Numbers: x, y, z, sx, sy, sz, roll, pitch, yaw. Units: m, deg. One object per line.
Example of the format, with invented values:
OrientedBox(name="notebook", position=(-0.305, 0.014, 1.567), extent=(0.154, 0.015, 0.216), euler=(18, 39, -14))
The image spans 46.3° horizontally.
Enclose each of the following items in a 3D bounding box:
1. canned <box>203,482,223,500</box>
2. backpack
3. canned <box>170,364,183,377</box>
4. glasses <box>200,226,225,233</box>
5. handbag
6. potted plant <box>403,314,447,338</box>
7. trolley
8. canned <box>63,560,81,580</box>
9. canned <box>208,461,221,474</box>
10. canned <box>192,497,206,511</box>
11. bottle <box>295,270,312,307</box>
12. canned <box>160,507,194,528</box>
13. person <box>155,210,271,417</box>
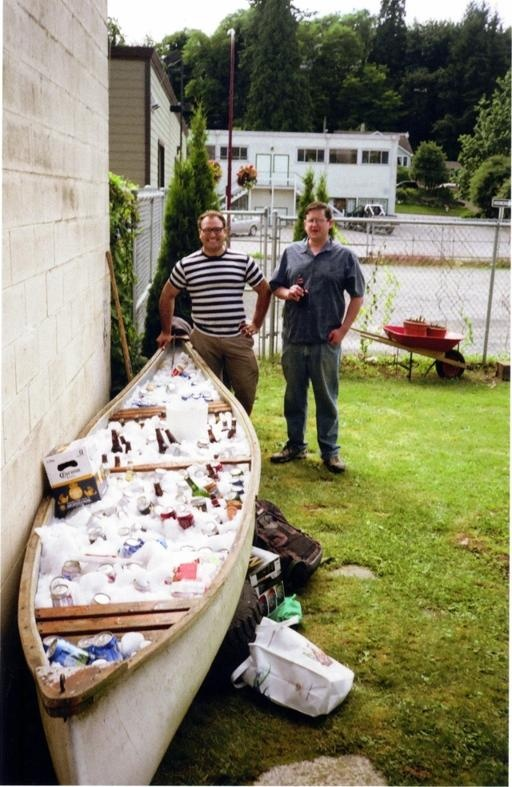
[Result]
OrientedBox(name="canned", position=(-0.180, 0.408, 2.503), extent=(0.058, 0.069, 0.059), euler=(-33, -1, 0))
OrientedBox(name="backpack", position=(0.140, 0.820, 3.121), extent=(0.358, 0.329, 0.319), euler=(8, 14, 31))
OrientedBox(name="canned", position=(-0.606, -0.174, 4.557), extent=(0.054, 0.045, 0.087), euler=(4, 22, 3))
OrientedBox(name="glasses", position=(-0.317, -1.198, 4.411), extent=(0.161, 0.046, 0.094), euler=(-1, 13, -10))
OrientedBox(name="handbag", position=(0.121, 1.052, 2.361), extent=(0.437, 0.207, 0.484), euler=(13, 7, 28))
OrientedBox(name="potted plant", position=(2.076, -0.822, 7.587), extent=(0.287, 0.175, 0.424), euler=(1, 8, -10))
OrientedBox(name="trolley", position=(2.044, -0.523, 7.867), extent=(1.463, 0.824, 0.789), euler=(-2, 14, 2))
OrientedBox(name="canned", position=(-0.602, 0.575, 1.949), extent=(0.045, 0.056, 0.051), euler=(6, 5, 6))
OrientedBox(name="canned", position=(-0.188, 0.338, 2.746), extent=(0.033, 0.044, 0.049), euler=(-2, -11, -6))
OrientedBox(name="canned", position=(-0.233, 0.439, 2.434), extent=(0.044, 0.055, 0.047), euler=(-13, 4, -27))
OrientedBox(name="bottle", position=(0.359, -0.778, 4.481), extent=(0.100, 0.256, 0.070), euler=(4, 11, 15))
OrientedBox(name="canned", position=(-0.307, 0.474, 2.300), extent=(0.088, 0.047, 0.064), euler=(2, 11, 18))
OrientedBox(name="person", position=(-0.313, -0.696, 4.696), extent=(0.558, 1.762, 0.838), euler=(0, 3, -12))
